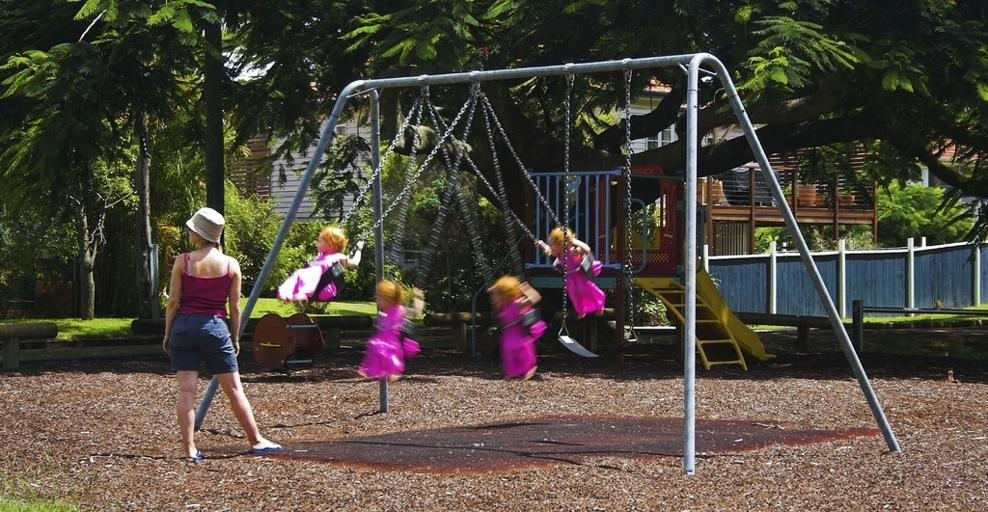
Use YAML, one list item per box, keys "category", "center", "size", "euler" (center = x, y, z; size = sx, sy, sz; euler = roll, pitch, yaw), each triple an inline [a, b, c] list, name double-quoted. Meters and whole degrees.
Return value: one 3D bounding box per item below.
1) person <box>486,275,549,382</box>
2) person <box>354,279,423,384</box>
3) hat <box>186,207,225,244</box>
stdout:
- category: "person"
  center: [0.432, 1.341, 24.437]
  size: [0.969, 1.954, 0.743]
  euler: [-1, -4, -2]
- category: "person"
  center: [-2.030, 1.396, 24.602]
  size: [1.238, 2.175, 1.025]
  euler: [-1, 1, -11]
- category: "hat"
  center: [-5.194, -0.544, 22.789]
  size: [0.630, 0.362, 0.679]
  euler: [34, -3, -17]
